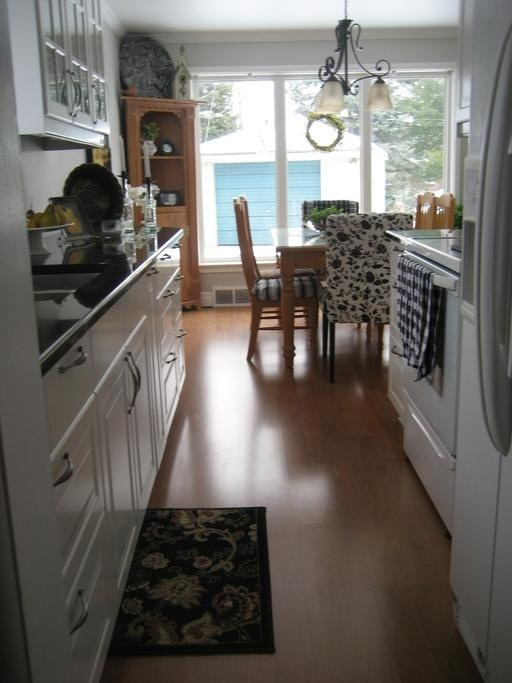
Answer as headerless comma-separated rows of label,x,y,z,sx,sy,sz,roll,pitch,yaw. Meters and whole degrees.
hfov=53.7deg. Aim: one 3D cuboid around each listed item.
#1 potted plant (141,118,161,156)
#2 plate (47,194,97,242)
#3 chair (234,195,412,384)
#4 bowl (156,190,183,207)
potted plant,-1.073,-2.082,5.097,0.176,0.382,0.473,-4,14,-9
plate,-0.902,-0.675,2.511,0.048,0.294,0.202,-16,7,34
chair,0.390,-0.629,4.505,1.265,2.057,1.269,-2,17,-4
bowl,-0.904,-1.493,5.267,0.277,0.157,0.113,-4,13,-8
